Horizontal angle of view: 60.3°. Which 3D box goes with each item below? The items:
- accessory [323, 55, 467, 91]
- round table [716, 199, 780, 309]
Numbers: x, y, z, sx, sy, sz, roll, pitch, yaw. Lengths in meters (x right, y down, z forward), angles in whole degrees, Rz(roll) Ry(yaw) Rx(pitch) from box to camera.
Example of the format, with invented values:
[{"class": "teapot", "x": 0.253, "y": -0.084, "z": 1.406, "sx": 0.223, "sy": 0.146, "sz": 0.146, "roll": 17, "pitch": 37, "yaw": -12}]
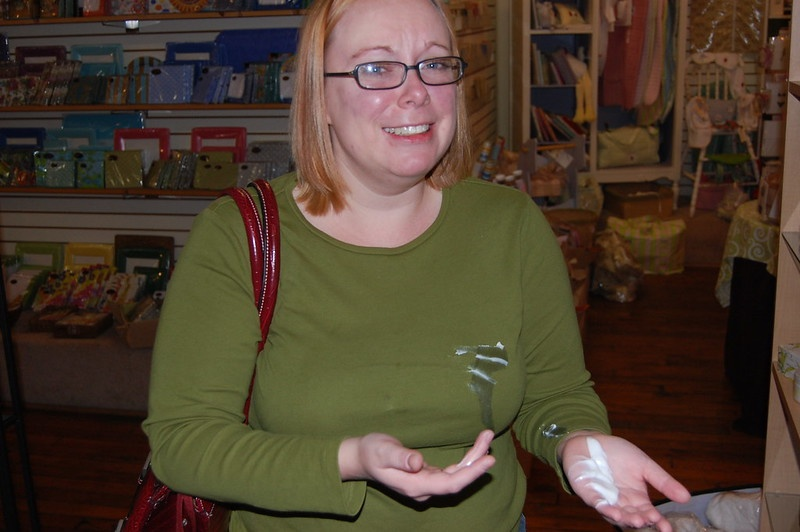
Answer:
[{"class": "accessory", "x": -0.004, "y": -0.505, "z": 1.818, "sx": 0.386, "sy": 0.088, "sz": 0.107, "roll": -3, "pitch": 13, "yaw": -9}, {"class": "round table", "x": 2.176, "y": -0.018, "z": 4.313, "sx": 0.236, "sy": 0.776, "sz": 0.817, "roll": 3, "pitch": 13, "yaw": 19}]
